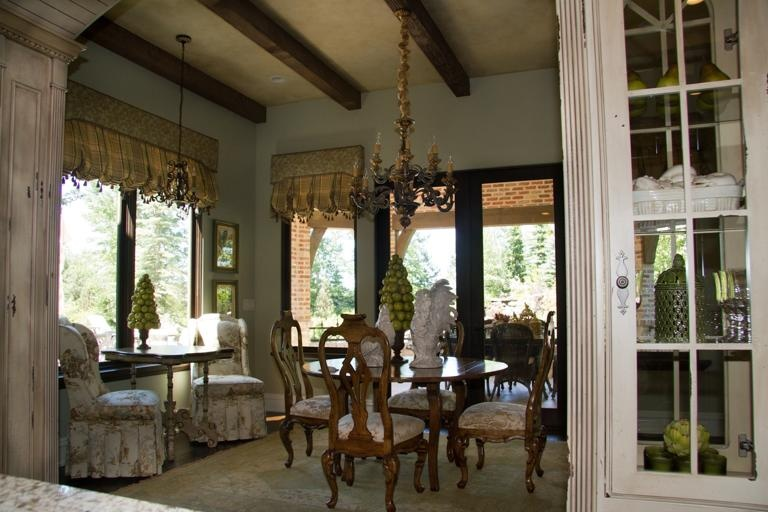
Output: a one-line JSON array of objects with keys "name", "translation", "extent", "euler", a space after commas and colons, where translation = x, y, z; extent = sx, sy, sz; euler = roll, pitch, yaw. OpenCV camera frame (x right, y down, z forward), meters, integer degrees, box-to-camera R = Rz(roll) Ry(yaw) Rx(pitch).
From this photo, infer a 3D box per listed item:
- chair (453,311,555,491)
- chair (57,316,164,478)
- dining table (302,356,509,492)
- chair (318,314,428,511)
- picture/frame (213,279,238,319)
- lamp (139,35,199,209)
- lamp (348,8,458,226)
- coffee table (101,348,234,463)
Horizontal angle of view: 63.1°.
[{"name": "chair", "translation": [1.001, 1.131, 5.090], "extent": [0.734, 1.176, 1.222], "euler": [0, 1, 15]}, {"name": "chair", "translation": [-2.262, 1.122, 5.208], "extent": [0.778, 1.210, 0.764], "euler": [1, -8, -27]}, {"name": "dining table", "translation": [0.419, 1.146, 4.878], "extent": [1.146, 0.741, 1.164], "euler": [0, -13, -7]}, {"name": "chair", "translation": [-0.069, 1.057, 4.675], "extent": [0.756, 1.351, 1.108], "euler": [0, 1, 1]}, {"name": "picture/frame", "translation": [-1.768, 0.468, 6.913], "extent": [0.034, 0.463, 0.395], "euler": [-3, -7, 25]}, {"name": "lamp", "translation": [-1.856, -1.231, 5.760], "extent": [0.538, 1.402, 0.512], "euler": [8, 10, 20]}, {"name": "lamp", "translation": [0.238, -1.133, 5.966], "extent": [1.116, 1.807, 2.504], "euler": [0, 1, -3]}, {"name": "coffee table", "translation": [-1.905, 1.106, 5.506], "extent": [1.029, 0.794, 0.926], "euler": [-1, 0, 35]}]
